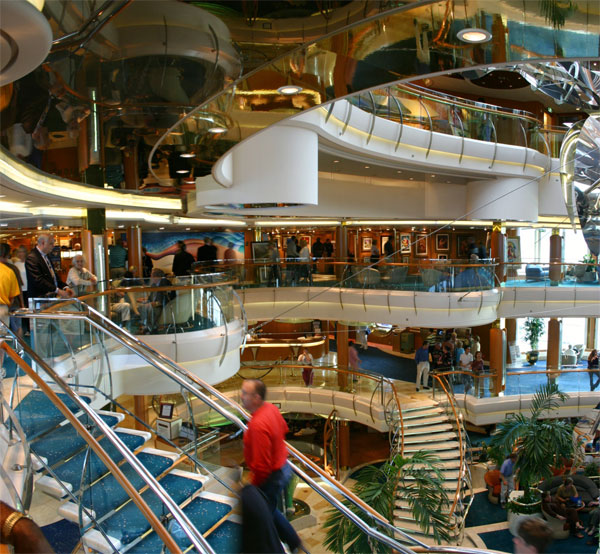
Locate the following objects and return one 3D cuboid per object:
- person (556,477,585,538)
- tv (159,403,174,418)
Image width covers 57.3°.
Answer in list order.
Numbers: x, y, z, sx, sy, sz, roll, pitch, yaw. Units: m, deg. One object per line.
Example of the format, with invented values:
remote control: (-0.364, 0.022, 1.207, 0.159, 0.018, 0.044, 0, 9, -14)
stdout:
person: (4.582, 3.888, 9.323, 0.392, 0.965, 0.910, -3, -4, 25)
tv: (-1.945, 1.970, 8.053, 0.042, 0.254, 0.420, 17, -15, -40)
